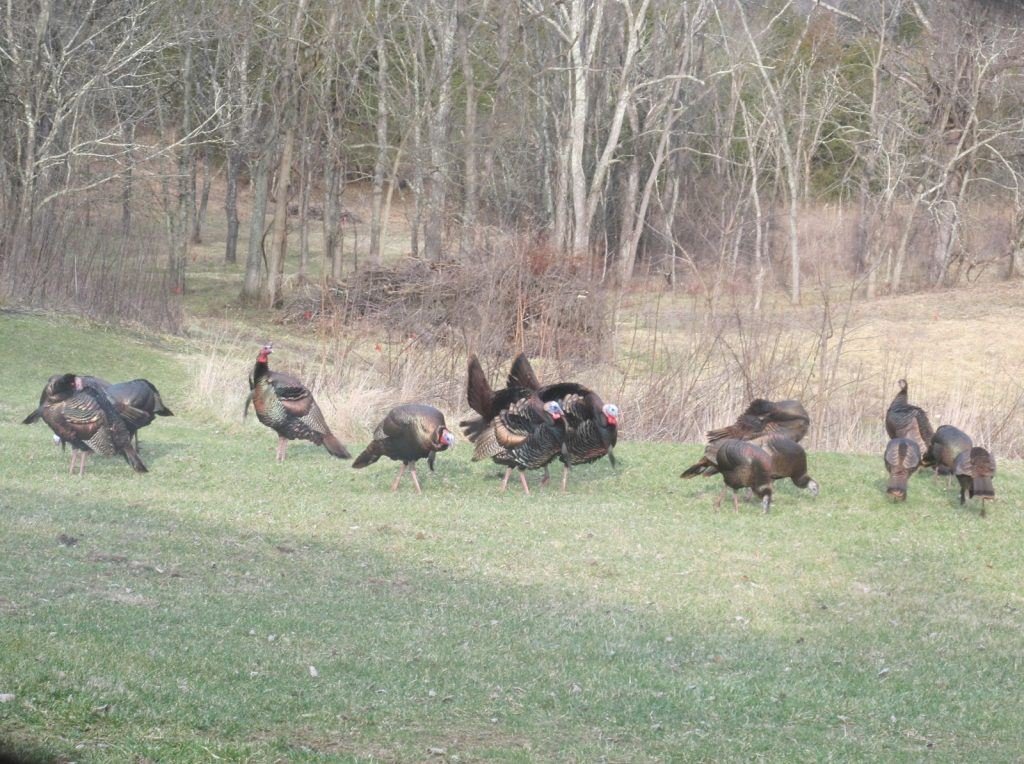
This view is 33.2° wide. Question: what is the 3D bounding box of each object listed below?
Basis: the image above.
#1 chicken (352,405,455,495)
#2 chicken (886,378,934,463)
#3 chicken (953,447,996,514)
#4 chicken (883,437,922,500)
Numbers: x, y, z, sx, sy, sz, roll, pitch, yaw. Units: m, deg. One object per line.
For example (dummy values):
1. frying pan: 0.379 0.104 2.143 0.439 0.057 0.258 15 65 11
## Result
1. chicken: -1.484 1.026 26.081 1.405 1.340 1.296 -3 7 -34
2. chicken: 6.282 0.559 27.090 0.666 1.207 0.584 0 6 35
3. chicken: 6.953 1.468 25.761 0.597 0.988 0.637 2 2 14
4. chicken: 5.897 1.281 25.917 0.524 0.940 0.316 5 10 14
